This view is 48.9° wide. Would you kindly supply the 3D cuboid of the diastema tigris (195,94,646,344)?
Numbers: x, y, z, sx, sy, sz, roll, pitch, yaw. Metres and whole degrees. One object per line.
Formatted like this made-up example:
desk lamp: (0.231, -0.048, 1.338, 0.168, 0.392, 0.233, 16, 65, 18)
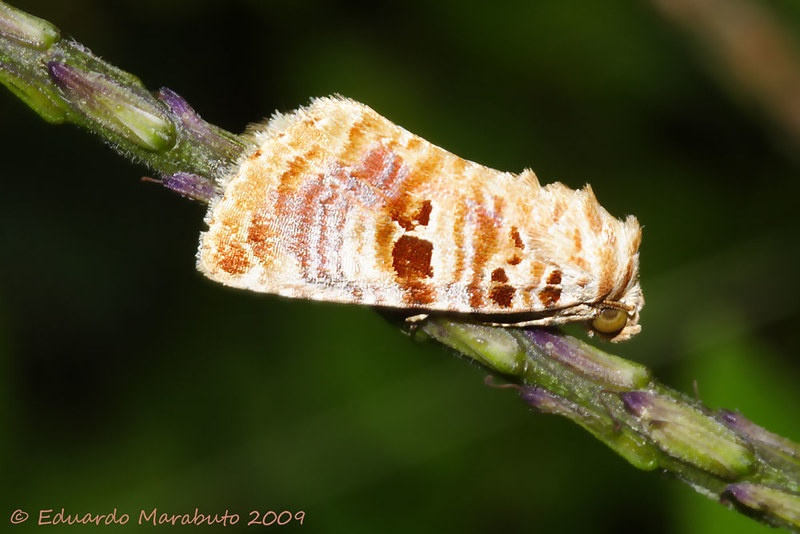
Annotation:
diastema tigris: (0.064, -0.172, 3.501, 1.643, 0.513, 0.725, 16, 60, -4)
